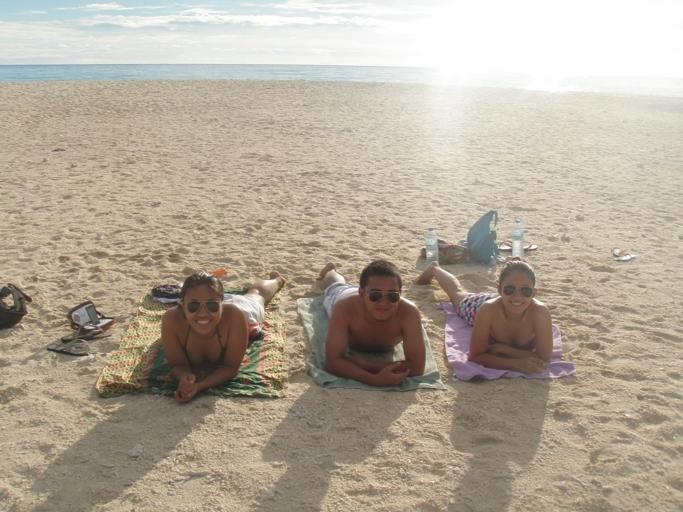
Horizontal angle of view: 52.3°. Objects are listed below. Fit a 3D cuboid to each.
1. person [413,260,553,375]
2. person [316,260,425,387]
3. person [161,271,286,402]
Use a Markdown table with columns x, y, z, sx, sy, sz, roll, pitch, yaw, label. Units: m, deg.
| x | y | z | sx | sy | sz | roll | pitch | yaw | label |
| --- | --- | --- | --- | --- | --- | --- | --- | --- | --- |
| 1.567 | 0.557 | 7.268 | 0.932 | 0.492 | 1.301 | -5 | 18 | -11 | person |
| 0.291 | 0.639 | 7.036 | 0.810 | 0.636 | 1.577 | -1 | 21 | -7 | person |
| -1.189 | 0.687 | 6.804 | 0.681 | 0.652 | 1.648 | 12 | 32 | 12 | person |
